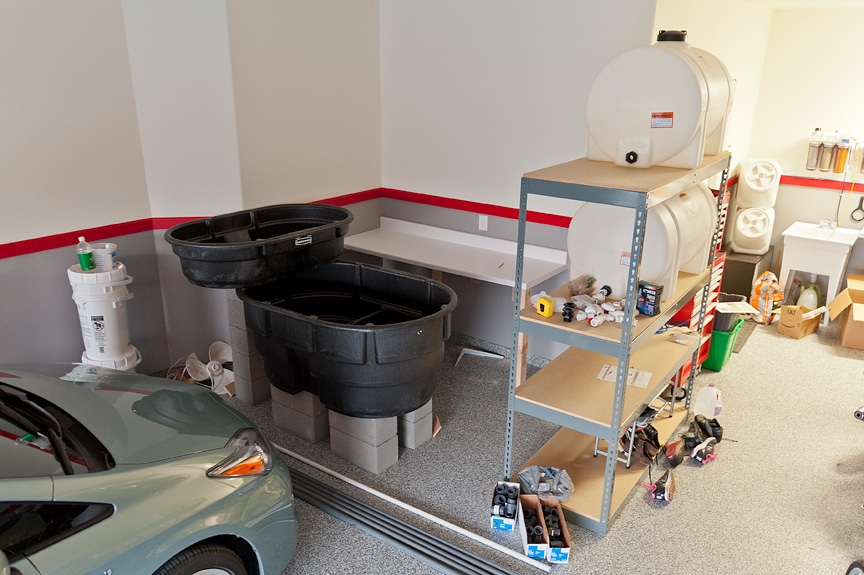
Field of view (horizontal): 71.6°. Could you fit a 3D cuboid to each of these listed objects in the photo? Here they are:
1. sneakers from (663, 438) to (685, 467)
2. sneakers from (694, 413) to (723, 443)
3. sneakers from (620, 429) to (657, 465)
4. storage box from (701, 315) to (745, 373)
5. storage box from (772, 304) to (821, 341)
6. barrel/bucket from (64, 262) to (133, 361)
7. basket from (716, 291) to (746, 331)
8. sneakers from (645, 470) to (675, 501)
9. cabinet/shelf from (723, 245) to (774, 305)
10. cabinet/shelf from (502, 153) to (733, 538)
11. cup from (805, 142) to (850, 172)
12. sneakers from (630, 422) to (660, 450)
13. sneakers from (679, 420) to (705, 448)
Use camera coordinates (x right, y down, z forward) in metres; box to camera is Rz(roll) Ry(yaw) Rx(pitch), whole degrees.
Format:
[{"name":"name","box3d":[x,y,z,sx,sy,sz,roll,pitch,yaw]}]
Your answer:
[{"name":"sneakers","box3d":[1.824,1.210,4.468,0.120,0.075,0.211,-18,25,45]},{"name":"sneakers","box3d":[2.159,1.084,4.722,0.134,0.117,0.276,-10,32,-21]},{"name":"sneakers","box3d":[1.541,1.133,4.377,0.283,0.205,0.101,7,7,16]},{"name":"storage box","box3d":[2.697,0.510,5.621,0.385,0.308,0.478,10,24,40]},{"name":"storage box","box3d":[3.827,0.328,6.224,0.377,0.230,0.358,-15,21,-40]},{"name":"barrel/bucket","box3d":[-2.513,0.227,4.598,0.428,0.805,0.303,-6,22,-20]},{"name":"basket","box3d":[2.765,0.227,5.558,0.421,0.169,0.280,-20,24,-41]},{"name":"sneakers","box3d":[1.637,1.386,4.204,0.247,0.097,0.142,-50,25,-25]},{"name":"cabinet/shelf","box3d":[3.303,-0.123,6.254,0.292,0.350,0.548,16,29,38]},{"name":"cabinet/shelf","box3d":[1.605,0.436,4.533,0.723,1.782,2.038,-7,9,13]},{"name":"cup","box3d":[4.322,-1.412,6.474,0.303,0.261,0.116,17,38,35]},{"name":"sneakers","box3d":[1.566,1.108,4.352,0.186,0.097,0.241,13,22,34]},{"name":"sneakers","box3d":[2.014,1.123,4.612,0.135,0.059,0.182,-10,17,-6]}]
